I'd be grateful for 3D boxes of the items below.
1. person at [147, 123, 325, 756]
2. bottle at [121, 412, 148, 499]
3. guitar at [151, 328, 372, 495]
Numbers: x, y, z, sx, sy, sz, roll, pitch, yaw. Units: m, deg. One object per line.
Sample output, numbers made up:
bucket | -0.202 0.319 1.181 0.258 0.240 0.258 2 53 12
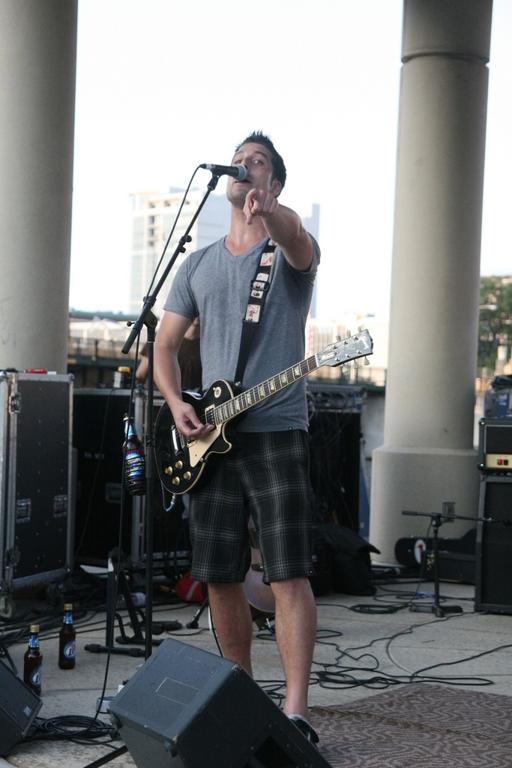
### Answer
person | -0.021 0.102 2.670 0.425 1.692 0.751 2 -2 -17
bottle | -0.394 0.241 3.089 0.076 0.264 0.276 2 -3 -7
guitar | 0.017 0.103 3.342 0.145 0.396 1.055 15 -40 -44
